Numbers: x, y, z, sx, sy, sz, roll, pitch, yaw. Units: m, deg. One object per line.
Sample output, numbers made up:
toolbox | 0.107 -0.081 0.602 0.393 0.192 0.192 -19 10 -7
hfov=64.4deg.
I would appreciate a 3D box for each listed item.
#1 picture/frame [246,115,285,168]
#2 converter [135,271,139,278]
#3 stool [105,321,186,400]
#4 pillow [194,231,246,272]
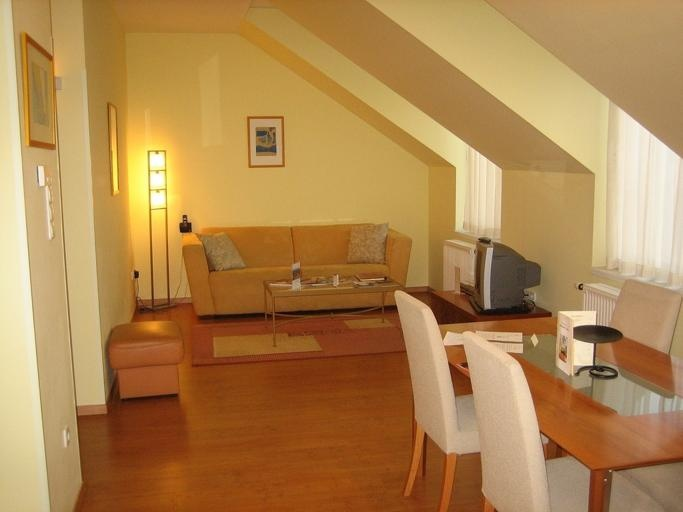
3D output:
picture/frame | -1.015 -1.526 7.105 0.640 0.880 0.034 -1 2 -13
converter | -2.473 0.217 6.580 0.054 0.061 0.063 8 25 -17
stool | -1.558 0.791 4.395 0.557 0.495 0.570 -1 7 -16
pillow | -1.438 -0.053 6.553 0.511 0.428 0.377 -7 13 -30
